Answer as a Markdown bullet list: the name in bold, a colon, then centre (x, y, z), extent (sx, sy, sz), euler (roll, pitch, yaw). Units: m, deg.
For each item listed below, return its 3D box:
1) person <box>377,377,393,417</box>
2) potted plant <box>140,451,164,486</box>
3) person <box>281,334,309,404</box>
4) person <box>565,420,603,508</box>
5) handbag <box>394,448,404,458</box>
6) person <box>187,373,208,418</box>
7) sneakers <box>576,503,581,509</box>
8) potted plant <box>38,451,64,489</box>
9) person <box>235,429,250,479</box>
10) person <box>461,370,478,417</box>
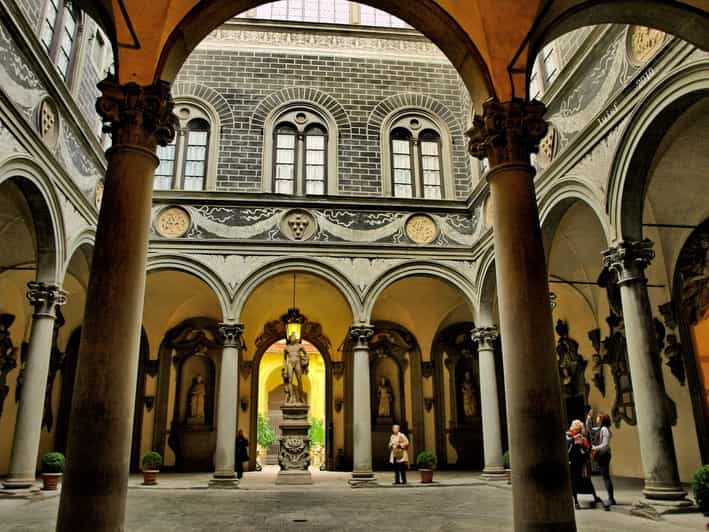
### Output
- **person**: centre (1.077, 4.567, 19.581), extent (0.564, 1.311, 0.252), euler (0, -18, 1)
- **potted plant**: centre (-5.108, 5.054, 14.189), extent (0.457, 0.805, 0.465), euler (15, -26, -37)
- **person**: centre (-1.680, 2.912, 15.789), extent (0.711, 1.889, 1.074), euler (3, -19, -8)
- **person**: centre (4.218, 3.608, 10.340), extent (0.488, 1.529, 1.914), euler (-7, -20, 20)
- **handbag**: centre (1.131, 4.704, 14.191), extent (0.186, 0.273, 0.196), euler (2, -22, -2)
- **person**: centre (-5.297, 4.394, 18.857), extent (0.612, 1.447, 0.313), euler (6, -19, -17)
- **sneakers**: centre (4.020, 4.295, 10.101), extent (0.074, 0.075, 0.132), euler (-5, -29, 13)
- **potted plant**: centre (-6.437, 4.340, 11.944), extent (0.389, 0.727, 0.936), euler (10, -21, -27)
- **person**: centre (-3.365, 5.543, 16.730), extent (0.352, 1.365, 1.891), euler (4, -19, -11)
- **person**: centre (4.012, 4.473, 19.564), extent (0.567, 1.527, 0.237), euler (-1, -18, 4)
